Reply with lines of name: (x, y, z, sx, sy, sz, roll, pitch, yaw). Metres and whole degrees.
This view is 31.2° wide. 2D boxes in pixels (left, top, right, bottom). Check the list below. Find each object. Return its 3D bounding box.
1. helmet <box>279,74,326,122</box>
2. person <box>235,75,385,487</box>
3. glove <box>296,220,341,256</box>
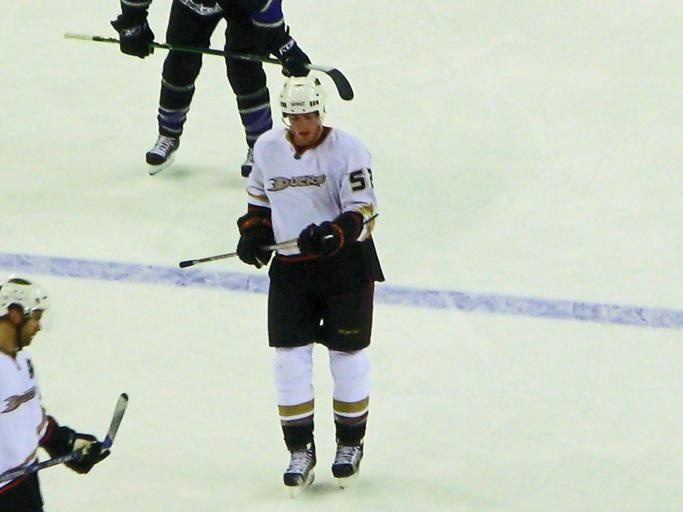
helmet: (-0.202, -0.828, 6.525, 0.256, 0.306, 0.329, -1, 10, 9)
person: (-0.183, 0.143, 6.489, 0.796, 2.135, 0.462, 3, 0, 1)
glove: (-0.122, -0.085, 6.298, 0.149, 0.090, 0.206, -9, 42, 16)
